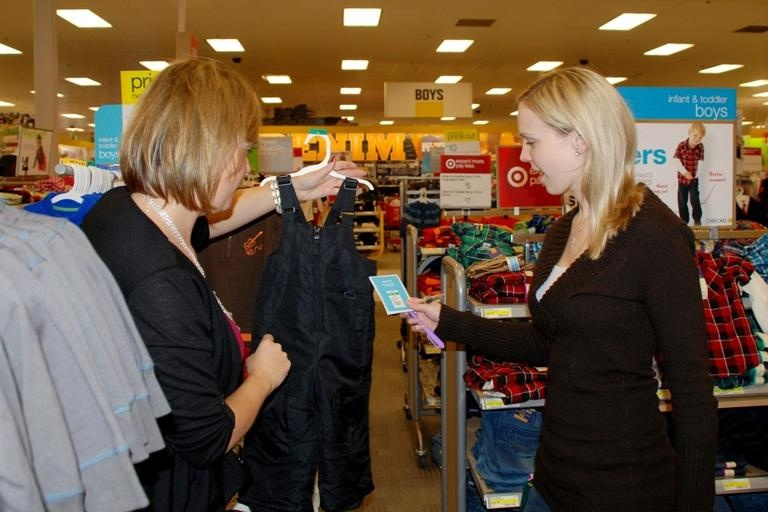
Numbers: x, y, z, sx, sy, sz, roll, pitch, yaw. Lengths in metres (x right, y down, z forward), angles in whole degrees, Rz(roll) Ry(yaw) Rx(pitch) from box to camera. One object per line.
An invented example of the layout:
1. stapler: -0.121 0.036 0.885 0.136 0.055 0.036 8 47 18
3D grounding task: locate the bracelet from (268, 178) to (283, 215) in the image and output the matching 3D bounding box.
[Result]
1. bracelet: -0.438 -0.241 2.183 0.048 0.126 0.091 -6 38 -8

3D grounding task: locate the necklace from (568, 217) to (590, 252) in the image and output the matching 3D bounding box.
1. necklace: 0.720 -0.076 2.013 0.025 0.102 0.058 19 -14 -39
